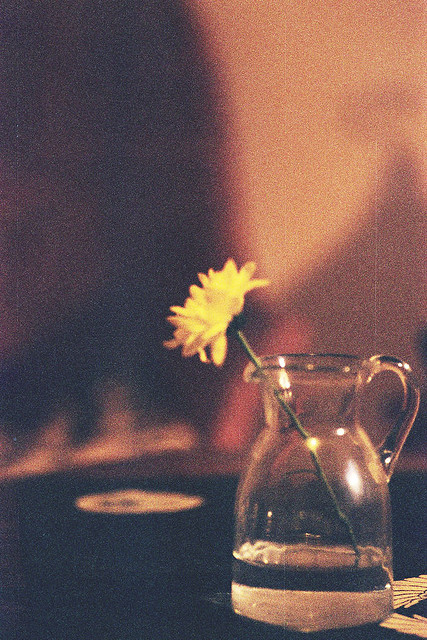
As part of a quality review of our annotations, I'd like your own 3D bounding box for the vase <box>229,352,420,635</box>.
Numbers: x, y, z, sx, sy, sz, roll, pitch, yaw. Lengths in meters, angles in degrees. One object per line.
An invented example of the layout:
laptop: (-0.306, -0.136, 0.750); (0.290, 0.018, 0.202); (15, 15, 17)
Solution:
vase: (0.121, 0.197, 0.865); (0.216, 0.322, 0.117); (-3, 12, -2)
